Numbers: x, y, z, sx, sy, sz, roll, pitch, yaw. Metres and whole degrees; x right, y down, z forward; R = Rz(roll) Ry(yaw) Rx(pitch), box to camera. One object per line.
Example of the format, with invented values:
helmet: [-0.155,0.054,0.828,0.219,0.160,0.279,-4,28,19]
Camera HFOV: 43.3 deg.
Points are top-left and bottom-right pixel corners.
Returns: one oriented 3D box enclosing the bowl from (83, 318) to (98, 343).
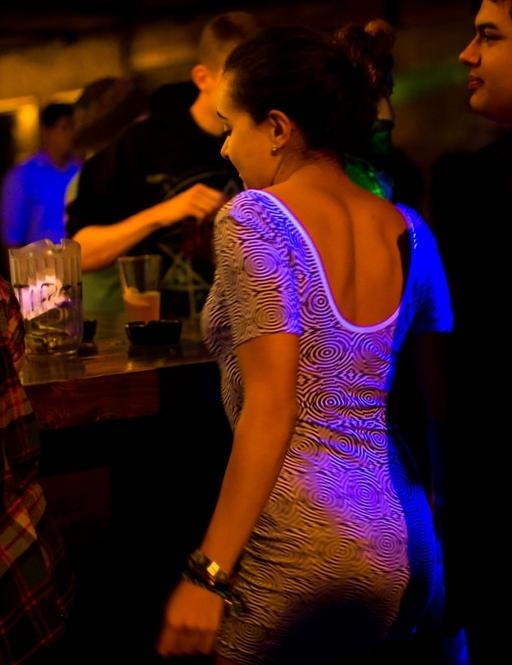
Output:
bowl: [-0.384,-0.003,1.497,0.045,0.043,0.045,0,-5,0]
